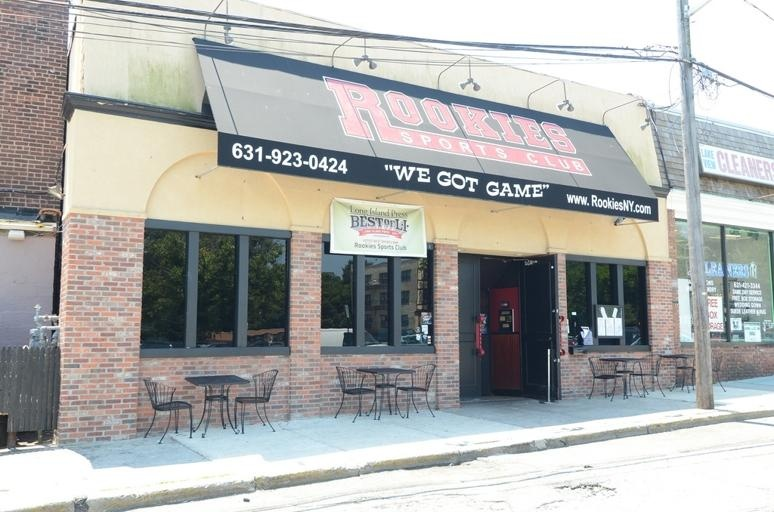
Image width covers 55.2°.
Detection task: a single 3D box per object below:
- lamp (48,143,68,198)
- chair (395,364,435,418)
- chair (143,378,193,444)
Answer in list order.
[{"bbox_3d":[-7.845,-1.984,17.543,0.310,1.488,1.272,2,-9,-25],"label":"lamp"},{"bbox_3d":[0.574,3.278,18.241,1.083,1.534,1.093,7,-13,-25],"label":"chair"},{"bbox_3d":[-4.568,3.231,15.808,1.212,1.630,1.164,1,-2,-28],"label":"chair"}]
